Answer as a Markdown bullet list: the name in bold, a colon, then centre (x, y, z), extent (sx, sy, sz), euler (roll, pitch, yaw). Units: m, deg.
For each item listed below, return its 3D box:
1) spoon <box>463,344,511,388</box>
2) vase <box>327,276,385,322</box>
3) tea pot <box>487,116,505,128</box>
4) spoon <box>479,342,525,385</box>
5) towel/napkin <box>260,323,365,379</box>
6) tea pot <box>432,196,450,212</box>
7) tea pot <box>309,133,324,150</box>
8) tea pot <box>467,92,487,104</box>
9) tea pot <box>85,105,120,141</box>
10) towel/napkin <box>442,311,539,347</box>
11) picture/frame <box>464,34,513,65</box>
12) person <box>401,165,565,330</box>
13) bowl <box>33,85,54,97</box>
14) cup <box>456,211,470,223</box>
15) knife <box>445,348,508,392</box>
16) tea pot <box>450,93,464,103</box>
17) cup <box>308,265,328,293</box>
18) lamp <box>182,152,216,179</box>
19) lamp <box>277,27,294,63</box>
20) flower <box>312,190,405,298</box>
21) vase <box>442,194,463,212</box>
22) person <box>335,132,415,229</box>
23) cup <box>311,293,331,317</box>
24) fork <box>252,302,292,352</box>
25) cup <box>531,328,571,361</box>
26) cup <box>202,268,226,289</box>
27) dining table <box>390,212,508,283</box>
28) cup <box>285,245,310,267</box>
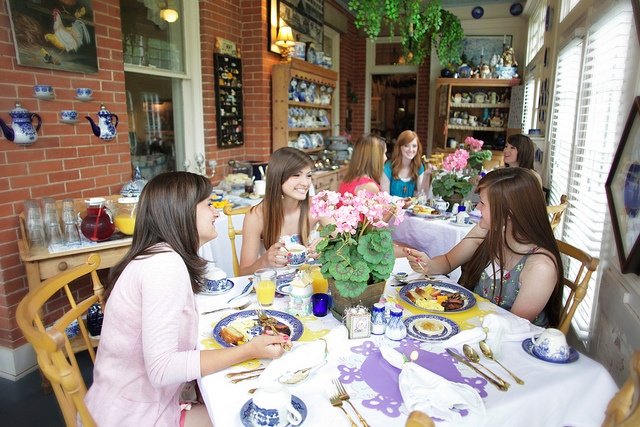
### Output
- **spoon**: centre (0.676, 0.628, 1.689), extent (0.055, 0.043, 0.289), euler (-1, 15, -13)
- **vase**: centre (0.172, 0.398, 1.949), extent (0.245, 0.184, 0.207), euler (-3, 5, -31)
- **tea pot**: centre (2.901, -1.522, 6.642), extent (0.200, 0.164, 0.158), euler (7, 14, 23)
- **spoon**: centre (0.745, 0.620, 1.712), extent (0.052, 0.046, 0.272), euler (-3, 17, -14)
- **towel/napkin**: centre (-0.046, 0.605, 1.653), extent (0.389, 0.118, 0.140), euler (-23, 52, -31)
- **tea pot**: centre (1.089, -0.089, 3.661), extent (0.152, 0.154, 0.114), euler (1, -1, -29)
- **tea pot**: centre (-0.059, -1.050, 5.882), extent (0.234, 0.225, 0.199), euler (-4, 14, -5)
- **tea pot**: centre (2.652, -1.948, 6.785), extent (0.264, 0.195, 0.138), euler (2, 14, 21)
- **tea pot**: centre (-1.713, -0.717, 3.162), extent (0.123, 0.252, 0.250), euler (15, 21, 24)
- **towel/napkin**: centre (0.774, 0.533, 1.824), extent (0.340, 0.047, 0.186), euler (-9, 10, -12)
- **picture/frame**: centre (2.815, -2.764, 6.732), extent (0.663, 0.473, 0.027), euler (1, 12, 6)
- **person**: centre (0.784, 0.063, 2.715), extent (0.926, 1.407, 0.852), euler (0, 11, 2)
- **bowl**: centre (-1.913, -0.854, 2.801), extent (0.108, 0.082, 0.052), euler (-11, 15, -32)
- **cup**: centre (1.176, 0.033, 3.349), extent (0.095, 0.089, 0.164), euler (-1, -8, 26)
- **knife**: centre (0.630, 0.639, 1.752), extent (0.063, 0.039, 0.484), euler (-9, 10, -12)
- **tea pot**: centre (2.301, -1.945, 6.812), extent (0.186, 0.172, 0.182), euler (-2, 13, 1)
- **cup**: centre (-0.012, 0.348, 2.092), extent (0.102, 0.121, 0.115), euler (-1, 4, -4)
- **lamp**: centre (-1.236, -0.518, 4.172), extent (0.316, 0.301, 0.249), euler (-10, 20, -36)
- **lamp**: centre (-0.426, -2.005, 4.750), extent (0.207, 0.370, 0.393), euler (-4, 13, -5)
- **flower**: centre (0.191, 0.065, 2.082), extent (0.467, 0.591, 0.470), euler (7, 17, 30)
- **vase**: centre (1.194, -0.101, 3.725), extent (0.164, 0.156, 0.162), euler (-1, 2, -16)
- **person**: centre (0.411, -0.250, 3.766), extent (0.528, 0.968, 0.425), euler (2, -14, 6)
- **cup**: centre (0.001, 0.452, 2.031), extent (0.100, 0.108, 0.096), euler (2, 5, 0)
- **fork**: centre (-0.226, 0.512, 1.876), extent (0.068, 0.049, 0.395), euler (2, 25, -27)
- **cup**: centre (0.979, 0.557, 1.716), extent (0.138, 0.102, 0.113), euler (-2, -2, 31)
- **cup**: centre (-0.552, 0.341, 2.130), extent (0.099, 0.074, 0.102), euler (1, -3, 0)
- **dining table**: centre (0.951, 0.199, 3.423), extent (0.638, 0.312, 0.643), euler (3, 13, 15)
- **cup**: centre (-0.137, 0.241, 2.289), extent (0.092, 0.085, 0.122), euler (0, -1, 4)
